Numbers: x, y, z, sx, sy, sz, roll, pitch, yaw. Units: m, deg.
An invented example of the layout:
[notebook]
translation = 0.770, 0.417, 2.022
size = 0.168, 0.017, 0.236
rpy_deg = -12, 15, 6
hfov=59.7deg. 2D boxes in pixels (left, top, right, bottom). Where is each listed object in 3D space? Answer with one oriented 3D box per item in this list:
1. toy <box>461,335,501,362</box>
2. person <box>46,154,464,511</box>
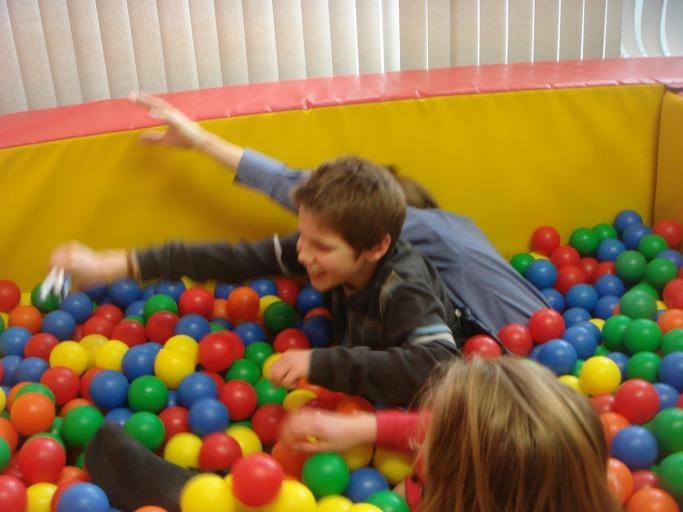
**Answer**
[toy]
translation = 0.359, 0.237, 1.525
size = 0.053, 0.070, 0.056
rpy_deg = -1, 6, -14
[person]
translation = -0.158, 0.099, 1.559
size = 0.981, 0.686, 0.794
rpy_deg = -15, 24, -32
